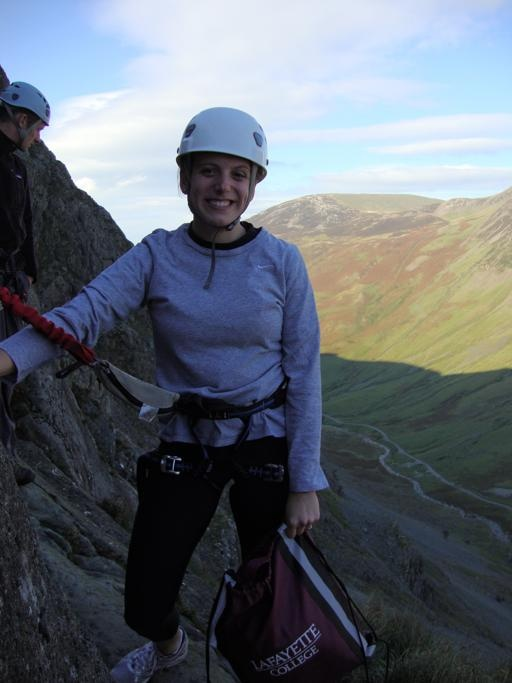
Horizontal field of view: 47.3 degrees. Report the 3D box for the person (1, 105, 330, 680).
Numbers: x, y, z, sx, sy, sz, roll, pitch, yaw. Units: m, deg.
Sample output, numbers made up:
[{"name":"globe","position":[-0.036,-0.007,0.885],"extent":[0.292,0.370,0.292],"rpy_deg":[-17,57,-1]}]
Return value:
[{"name":"person","position":[-0.274,0.363,2.764],"extent":[1.319,2.732,0.515],"rpy_deg":[14,2,-15]}]
